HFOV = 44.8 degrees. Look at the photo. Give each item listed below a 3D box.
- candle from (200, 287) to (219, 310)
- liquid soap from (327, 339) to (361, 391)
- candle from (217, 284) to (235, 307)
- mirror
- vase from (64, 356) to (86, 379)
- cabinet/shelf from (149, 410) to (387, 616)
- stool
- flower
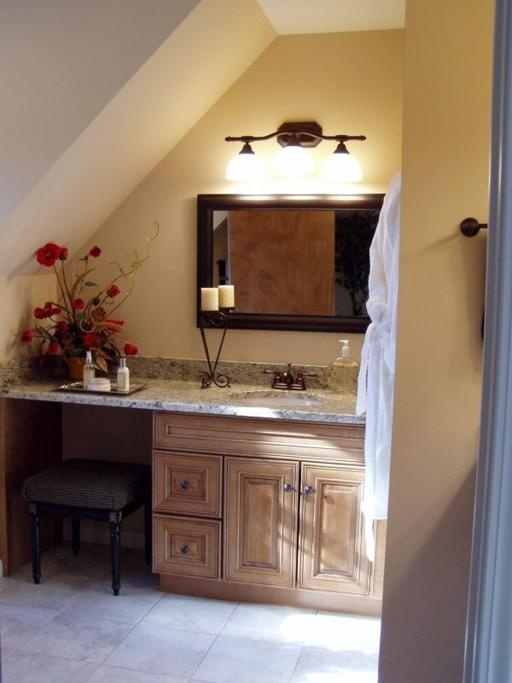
[{"bbox_3d":[-0.185,-0.173,2.513,0.085,0.094,0.079,8,13,36],"label":"candle"},{"bbox_3d":[0.356,0.101,2.535,0.106,0.213,0.145,0,5,-21],"label":"liquid soap"},{"bbox_3d":[-0.123,-0.184,2.543,0.079,0.088,0.079,-6,10,-41],"label":"candle"},{"bbox_3d":[0.162,-0.328,2.526,0.616,0.424,0.029,1,7,10],"label":"mirror"},{"bbox_3d":[-0.782,0.112,2.748,0.088,0.090,0.095,-6,14,-40],"label":"vase"},{"bbox_3d":[0.069,0.598,2.225,0.789,0.589,0.304,0,-2,13],"label":"cabinet/shelf"},{"bbox_3d":[-0.655,0.745,2.523,0.472,0.408,0.404,0,-2,9],"label":"stool"},{"bbox_3d":[-0.723,-0.179,2.675,0.509,0.685,0.398,2,5,13],"label":"flower"}]
